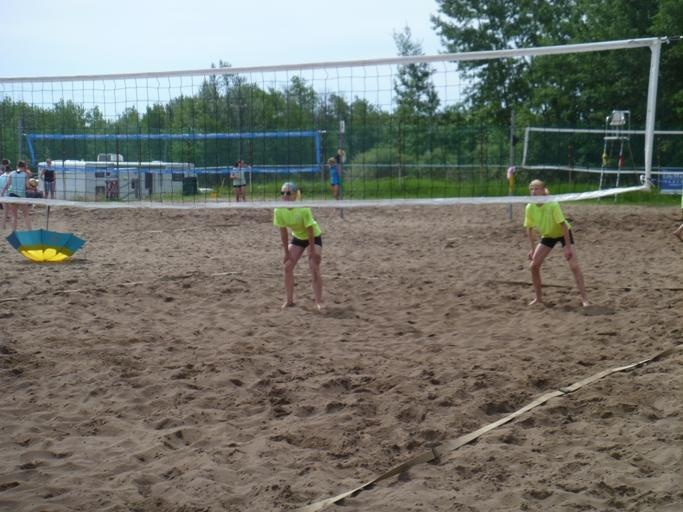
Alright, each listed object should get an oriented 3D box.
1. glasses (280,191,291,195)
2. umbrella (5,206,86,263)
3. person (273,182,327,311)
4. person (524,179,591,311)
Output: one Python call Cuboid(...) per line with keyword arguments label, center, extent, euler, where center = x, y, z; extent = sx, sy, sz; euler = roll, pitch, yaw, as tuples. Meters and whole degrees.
Cuboid(label="glasses", center=(-0.610, -0.688, 7.744), extent=(0.059, 0.045, 0.169), euler=(-7, 10, -34))
Cuboid(label="umbrella", center=(-4.155, -0.363, 10.168), extent=(0.855, 0.671, 0.860), euler=(3, 5, 23))
Cuboid(label="person", center=(-0.479, -0.148, 8.165), extent=(0.495, 1.433, 1.029), euler=(-2, 8, -2))
Cuboid(label="person", center=(2.594, -0.269, 8.606), extent=(0.683, 1.384, 2.321), euler=(0, 8, 15))
